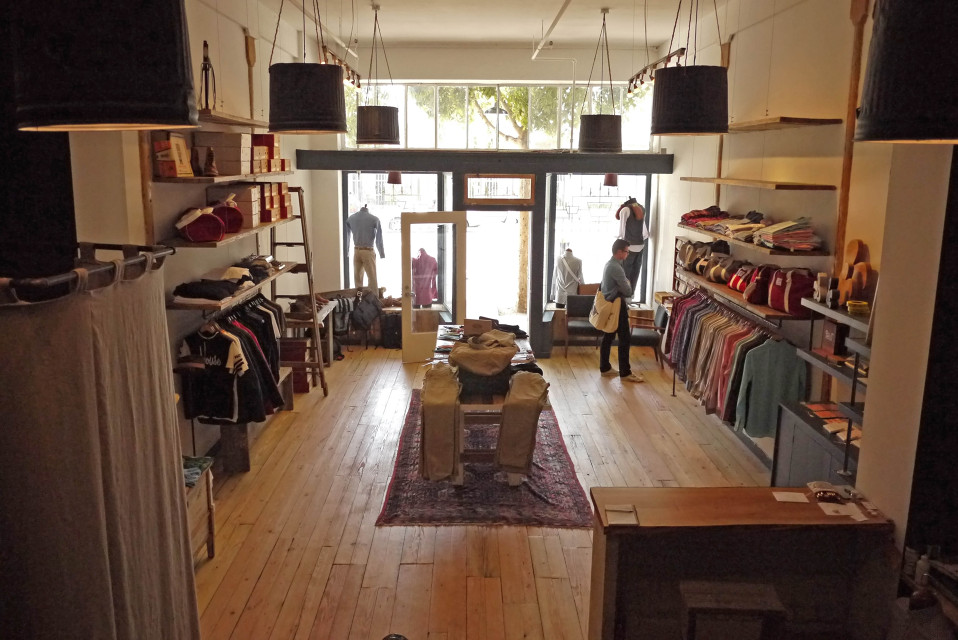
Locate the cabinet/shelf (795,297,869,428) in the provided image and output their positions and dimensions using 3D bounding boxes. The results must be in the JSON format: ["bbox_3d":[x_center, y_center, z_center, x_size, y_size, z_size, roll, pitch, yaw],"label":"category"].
[{"bbox_3d":[2.809,0.340,5.416,0.326,0.858,1.028,1,6,9],"label":"cabinet/shelf"}]

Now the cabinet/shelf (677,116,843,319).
[{"bbox_3d":[2.968,-1.055,7.147,0.693,1.543,2.357,-1,8,-4],"label":"cabinet/shelf"}]

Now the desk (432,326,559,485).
[{"bbox_3d":[0.017,0.922,6.324,1.146,1.383,0.876,-3,14,-4],"label":"desk"}]

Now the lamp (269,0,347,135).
[{"bbox_3d":[-1.333,-1.711,5.224,0.577,0.512,0.290,-6,14,-16],"label":"lamp"}]

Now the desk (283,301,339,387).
[{"bbox_3d":[-2.327,0.328,9.265,0.571,0.663,1.065,0,12,-1],"label":"desk"}]

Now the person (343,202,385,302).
[{"bbox_3d":[-1.900,-1.185,11.475,0.562,1.454,0.419,-4,14,-11],"label":"person"}]

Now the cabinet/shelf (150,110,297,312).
[{"bbox_3d":[-2.497,-1.375,6.613,0.618,1.132,2.224,-2,14,-1],"label":"cabinet/shelf"}]

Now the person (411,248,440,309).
[{"bbox_3d":[-0.828,-0.638,10.287,0.377,0.898,0.208,-3,14,-5],"label":"person"}]

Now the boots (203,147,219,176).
[{"bbox_3d":[-2.466,-1.460,6.234,0.120,0.261,0.359,-7,15,-20],"label":"boots"}]

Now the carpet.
[{"bbox_3d":[0.004,1.379,7.420,1.944,0.047,3.294,3,15,1],"label":"carpet"}]

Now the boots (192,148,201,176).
[{"bbox_3d":[-2.600,-1.470,6.259,0.082,0.237,0.090,-7,15,-21],"label":"boots"}]

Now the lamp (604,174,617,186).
[{"bbox_3d":[2.245,-2.406,11.648,0.225,0.218,0.358,1,14,10],"label":"lamp"}]

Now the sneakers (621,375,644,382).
[{"bbox_3d":[2.173,0.840,9.699,0.220,0.067,0.122,-1,9,-6],"label":"sneakers"}]

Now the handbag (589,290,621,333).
[{"bbox_3d":[1.792,-0.109,9.675,0.305,0.561,0.576,-1,12,-9],"label":"handbag"}]

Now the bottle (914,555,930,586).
[{"bbox_3d":[2.325,1.323,3.581,0.062,0.148,0.088,8,17,35],"label":"bottle"}]

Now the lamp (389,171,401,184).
[{"bbox_3d":[-1.434,-2.412,11.483,0.187,0.137,0.188,-2,5,-2],"label":"lamp"}]
